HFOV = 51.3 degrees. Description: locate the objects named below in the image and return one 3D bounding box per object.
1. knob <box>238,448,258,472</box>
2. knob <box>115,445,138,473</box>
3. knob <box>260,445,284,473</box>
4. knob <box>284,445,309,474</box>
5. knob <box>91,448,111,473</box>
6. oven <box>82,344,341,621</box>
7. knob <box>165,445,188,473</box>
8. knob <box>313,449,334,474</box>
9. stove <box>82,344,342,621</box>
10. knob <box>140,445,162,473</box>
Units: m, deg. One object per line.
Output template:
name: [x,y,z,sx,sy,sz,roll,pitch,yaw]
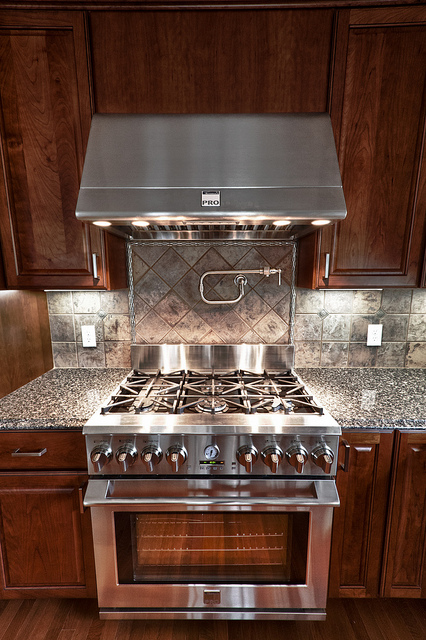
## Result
knob: [0.116,0.458,1.469,0.048,0.076,0.061,0,-74,0]
knob: [-0.289,0.461,1.490,0.062,0.039,0.094,5,-69,3]
knob: [0.201,0.459,1.470,0.060,0.035,0.093,2,-107,-3]
knob: [0.279,0.465,1.495,0.059,0.033,0.094,1,-78,9]
knob: [-0.381,0.465,1.493,0.053,0.028,0.082,7,-72,1]
oven: [0.010,0.672,2.010,0.893,0.908,0.936,0,-78,0]
knob: [-0.122,0.453,1.479,0.058,0.051,0.088,2,-69,1]
knob: [0.368,0.469,1.488,0.051,0.075,0.055,-4,-30,-3]
stove: [0.011,0.591,1.944,0.971,0.846,1.189,0,-80,1]
knob: [-0.207,0.471,1.518,0.060,0.029,0.094,2,-86,-2]
